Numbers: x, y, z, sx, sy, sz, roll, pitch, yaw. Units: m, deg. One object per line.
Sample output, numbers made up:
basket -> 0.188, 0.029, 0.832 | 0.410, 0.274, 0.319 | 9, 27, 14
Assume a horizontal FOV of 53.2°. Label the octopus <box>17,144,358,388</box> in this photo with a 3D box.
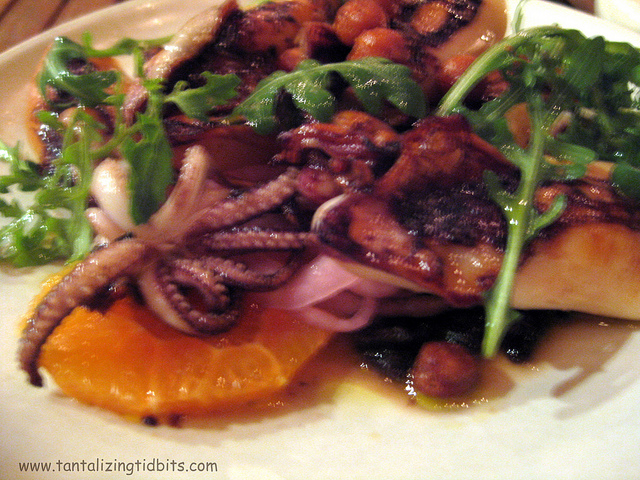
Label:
octopus -> -0.391, 0.094, 1.778 | 0.823, 0.292, 0.511 | -34, 83, -15
